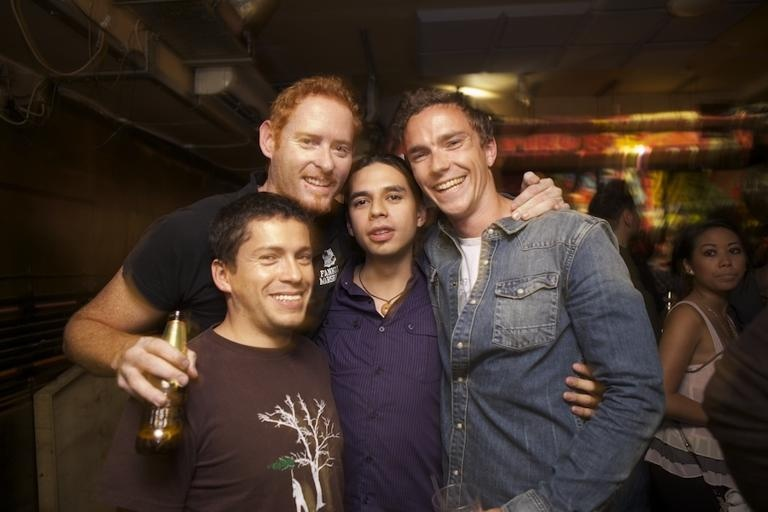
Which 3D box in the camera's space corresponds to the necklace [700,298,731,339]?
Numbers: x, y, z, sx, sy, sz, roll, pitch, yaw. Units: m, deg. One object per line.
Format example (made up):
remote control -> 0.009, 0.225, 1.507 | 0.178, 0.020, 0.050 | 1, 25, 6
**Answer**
necklace -> 2.418, 0.455, 4.136 | 0.256, 0.244, 0.090 | 5, -19, -29
